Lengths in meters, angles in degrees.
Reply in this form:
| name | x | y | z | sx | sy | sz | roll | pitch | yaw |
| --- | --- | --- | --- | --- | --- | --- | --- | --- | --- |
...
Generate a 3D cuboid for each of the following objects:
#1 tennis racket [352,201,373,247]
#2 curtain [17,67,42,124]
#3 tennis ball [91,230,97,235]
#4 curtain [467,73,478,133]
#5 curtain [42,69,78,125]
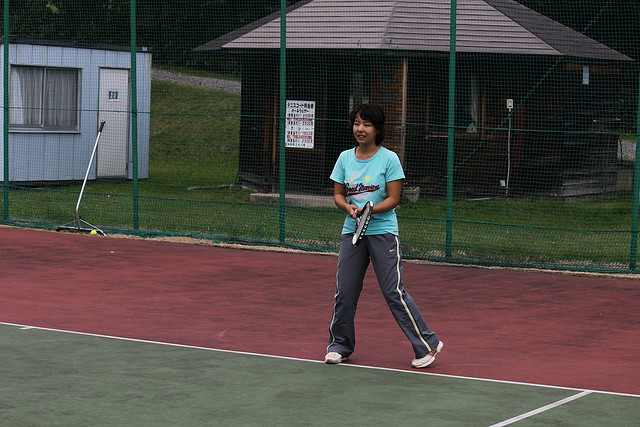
| name | x | y | z | sx | sy | sz | roll | pitch | yaw |
| --- | --- | --- | --- | --- | --- | --- | --- | --- | --- |
| tennis racket | 0.422 | 0.115 | 7.068 | 0.068 | 0.389 | 0.479 | 23 | -1 | -3 |
| curtain | -8.277 | -3.292 | 21.109 | 0.707 | 1.642 | 0.586 | 2 | 3 | -39 |
| tennis ball | -4.423 | 0.384 | 14.456 | 0.088 | 0.072 | 0.081 | 4 | -6 | 0 |
| curtain | 3.967 | -2.832 | 18.977 | 0.257 | 0.949 | 1.006 | 4 | 2 | 12 |
| curtain | -7.602 | -3.336 | 21.645 | 1.036 | 1.676 | 0.506 | 2 | 3 | -33 |
